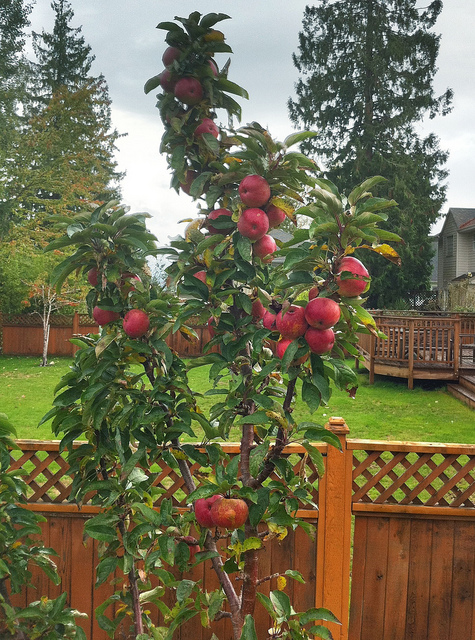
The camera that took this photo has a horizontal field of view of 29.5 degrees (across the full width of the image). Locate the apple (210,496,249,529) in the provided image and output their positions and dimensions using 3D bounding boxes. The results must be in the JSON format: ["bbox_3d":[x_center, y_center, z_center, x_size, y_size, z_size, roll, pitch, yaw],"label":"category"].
[{"bbox_3d":[-0.033,0.910,4.303,0.167,0.120,0.161,-4,0,28],"label":"apple"}]

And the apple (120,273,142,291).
[{"bbox_3d":[-0.558,-0.189,4.741,0.114,0.104,0.100,-9,0,2],"label":"apple"}]

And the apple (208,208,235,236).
[{"bbox_3d":[-0.083,-0.494,4.612,0.135,0.142,0.108,1,-3,-2],"label":"apple"}]

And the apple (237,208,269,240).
[{"bbox_3d":[0.045,-0.479,4.540,0.169,0.134,0.170,3,21,-6],"label":"apple"}]

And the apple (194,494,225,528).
[{"bbox_3d":[-0.173,0.937,4.459,0.196,0.147,0.167,3,-1,-7],"label":"apple"}]

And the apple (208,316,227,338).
[{"bbox_3d":[-0.122,0.046,4.653,0.102,0.089,0.041,-2,-5,21],"label":"apple"}]

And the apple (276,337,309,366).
[{"bbox_3d":[0.249,0.158,4.350,0.167,0.143,0.140,2,1,-5],"label":"apple"}]

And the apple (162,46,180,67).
[{"bbox_3d":[-0.340,-1.345,4.649,0.116,0.106,0.102,1,5,5],"label":"apple"}]

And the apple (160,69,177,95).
[{"bbox_3d":[-0.363,-1.217,4.640,0.140,0.122,0.120,-2,5,-4],"label":"apple"}]

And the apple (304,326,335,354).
[{"bbox_3d":[0.391,0.098,4.315,0.152,0.122,0.133,-4,-5,0],"label":"apple"}]

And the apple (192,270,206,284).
[{"bbox_3d":[-0.188,-0.218,4.610,0.076,0.068,0.066,0,-2,-22],"label":"apple"}]

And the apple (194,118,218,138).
[{"bbox_3d":[-0.152,-0.984,4.665,0.130,0.118,0.074,-1,-3,25],"label":"apple"}]

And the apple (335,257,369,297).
[{"bbox_3d":[0.536,-0.193,4.215,0.207,0.173,0.165,-1,6,-5],"label":"apple"}]

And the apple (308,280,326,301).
[{"bbox_3d":[0.348,-0.136,4.306,0.063,0.079,0.094,42,-22,-11],"label":"apple"}]

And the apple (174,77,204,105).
[{"bbox_3d":[-0.250,-1.172,4.638,0.149,0.131,0.078,1,-3,-3],"label":"apple"}]

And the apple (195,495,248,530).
[{"bbox_3d":[-0.080,0.929,4.375,0.276,0.129,0.186,0,-5,-7],"label":"apple"}]

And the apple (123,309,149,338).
[{"bbox_3d":[-0.516,0.022,4.606,0.129,0.143,0.085,3,-4,-37],"label":"apple"}]

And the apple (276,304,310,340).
[{"bbox_3d":[0.262,0.017,4.360,0.183,0.140,0.158,-1,10,1],"label":"apple"}]

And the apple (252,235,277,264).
[{"bbox_3d":[0.141,-0.356,4.557,0.128,0.145,0.077,1,-3,-17],"label":"apple"}]

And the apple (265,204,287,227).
[{"bbox_3d":[0.193,-0.524,4.578,0.109,0.105,0.111,0,-1,41],"label":"apple"}]

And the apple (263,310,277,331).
[{"bbox_3d":[0.155,0.004,4.460,0.096,0.087,0.086,1,0,10],"label":"apple"}]

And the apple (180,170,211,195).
[{"bbox_3d":[-0.213,-0.714,4.718,0.094,0.139,0.276,2,-3,-26],"label":"apple"}]

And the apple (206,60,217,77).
[{"bbox_3d":[-0.125,-1.294,4.676,0.038,0.089,0.085,-1,-3,25],"label":"apple"}]

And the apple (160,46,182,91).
[{"bbox_3d":[-0.358,-1.292,4.670,0.076,0.231,0.170,2,-3,-30],"label":"apple"}]

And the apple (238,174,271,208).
[{"bbox_3d":[0.086,-0.628,4.464,0.183,0.159,0.159,-3,1,6],"label":"apple"}]

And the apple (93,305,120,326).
[{"bbox_3d":[-0.692,-0.016,4.694,0.120,0.108,0.110,-1,-5,20],"label":"apple"}]

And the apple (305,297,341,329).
[{"bbox_3d":[0.400,-0.018,4.225,0.162,0.134,0.161,20,-14,-42],"label":"apple"}]
